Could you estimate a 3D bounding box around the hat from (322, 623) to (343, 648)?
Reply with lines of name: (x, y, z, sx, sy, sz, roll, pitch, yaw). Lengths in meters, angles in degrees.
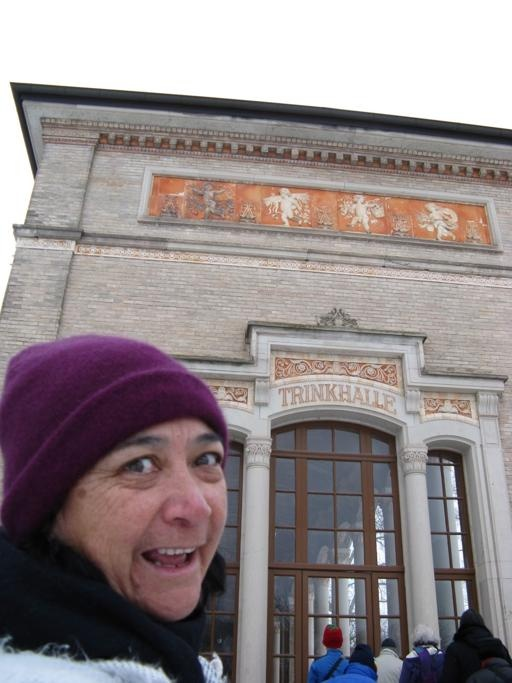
hat: (0.676, 2.719, 5.759, 0.203, 0.225, 0.264, 3, -9, 5)
